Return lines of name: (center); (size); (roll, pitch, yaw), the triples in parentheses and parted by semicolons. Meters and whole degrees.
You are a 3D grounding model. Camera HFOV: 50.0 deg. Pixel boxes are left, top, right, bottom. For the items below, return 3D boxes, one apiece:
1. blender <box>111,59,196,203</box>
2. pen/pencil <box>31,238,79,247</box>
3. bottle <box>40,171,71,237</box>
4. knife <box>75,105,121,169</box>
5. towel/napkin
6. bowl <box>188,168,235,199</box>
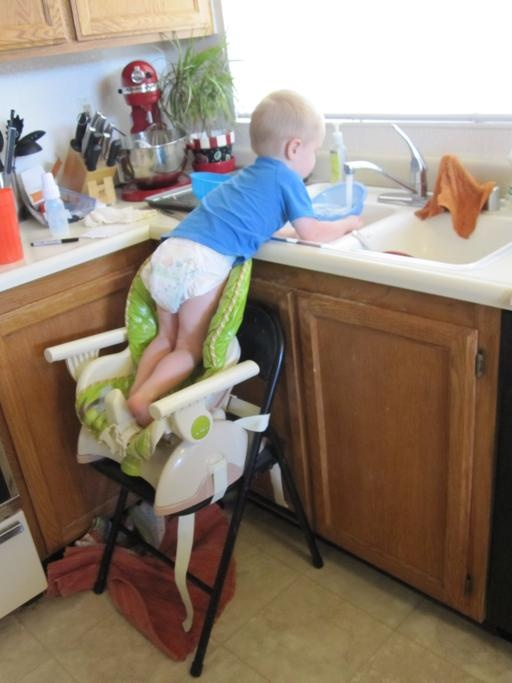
blender: (-0.352, -0.690, 1.789); (0.222, 0.396, 0.324); (-15, 36, -19)
pen/pencil: (-0.505, -0.250, 1.397); (0.126, 0.018, 0.019); (-7, 34, -8)
bottle: (-0.539, -0.367, 1.462); (0.062, 0.160, 0.203); (-17, 26, -17)
knife: (-0.517, -0.658, 1.781); (0.156, 0.171, 0.356); (-13, 25, -9)
towel/napkin: (0.489, -0.322, 1.321); (0.180, 0.194, 0.067); (41, 25, 31)
bowl: (-0.130, -0.442, 1.509); (0.099, 0.050, 0.120); (-23, 41, -20)
